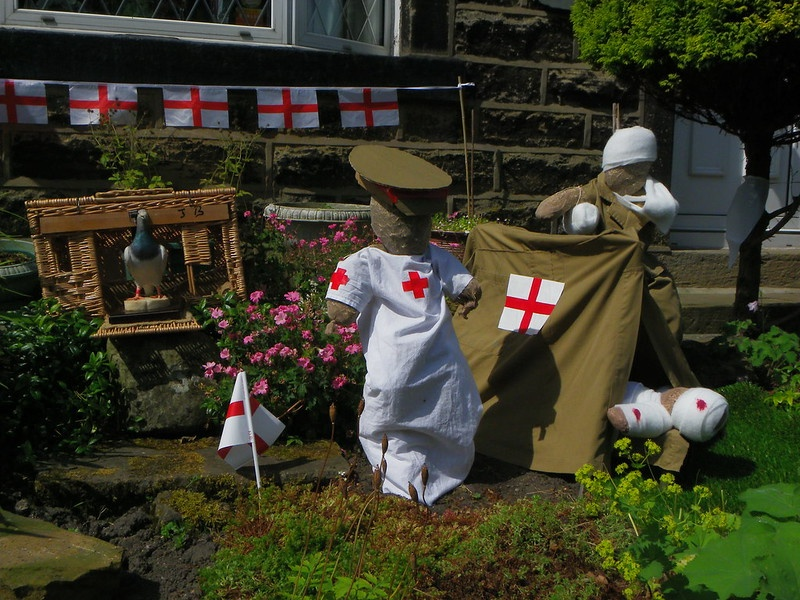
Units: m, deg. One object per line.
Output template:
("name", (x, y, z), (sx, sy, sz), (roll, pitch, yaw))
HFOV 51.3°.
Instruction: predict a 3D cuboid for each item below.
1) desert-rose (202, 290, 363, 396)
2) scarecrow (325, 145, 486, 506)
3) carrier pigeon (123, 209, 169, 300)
("desert-rose", (-0.751, 0.296, 5.292), (0.907, 0.705, 0.547), (-1, 14, -16))
("scarecrow", (0.036, 0.140, 4.754), (0.855, 1.946, 0.664), (3, 13, 14))
("carrier pigeon", (-1.605, -0.293, 5.418), (0.284, 0.589, 0.354), (-4, 19, -22))
